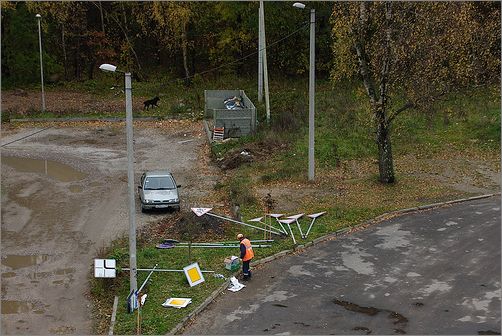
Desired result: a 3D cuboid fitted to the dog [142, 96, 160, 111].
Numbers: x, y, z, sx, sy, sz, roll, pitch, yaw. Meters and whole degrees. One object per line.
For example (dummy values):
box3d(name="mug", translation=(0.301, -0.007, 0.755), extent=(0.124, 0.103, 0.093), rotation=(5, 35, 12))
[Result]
box3d(name="dog", translation=(-9.428, -6.025, 70.315), extent=(1.481, 1.147, 2.839), rotation=(-2, 8, -8))

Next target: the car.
box3d(name="car", translation=(-6.155, 1.758, 49.701), extent=(1.779, 1.710, 3.947), rotation=(2, 49, 3))

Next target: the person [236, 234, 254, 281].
box3d(name="person", translation=(-0.323, 5.224, 43.151), extent=(0.782, 2.540, 0.594), rotation=(2, 8, 23))
